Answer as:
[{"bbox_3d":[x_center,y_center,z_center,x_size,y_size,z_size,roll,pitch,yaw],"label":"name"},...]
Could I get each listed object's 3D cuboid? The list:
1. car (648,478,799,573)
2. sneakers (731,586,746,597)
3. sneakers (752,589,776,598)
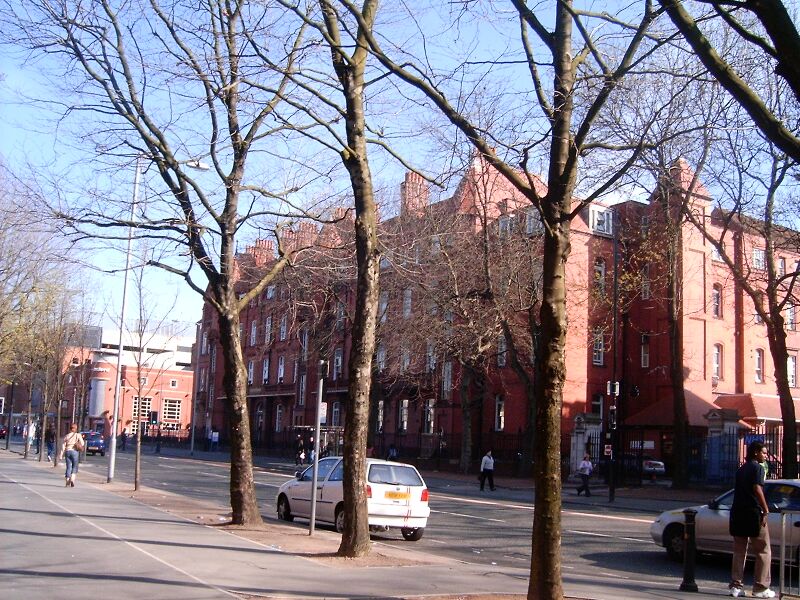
[{"bbox_3d":[6.719,4.464,16.424,3.211,1.209,1.486,-8,-14,43],"label":"car"},{"bbox_3d":[5.740,4.891,13.708,0.306,0.152,0.260,2,-13,-5],"label":"sneakers"},{"bbox_3d":[6.143,4.866,13.580,0.405,0.217,0.169,3,-10,-21],"label":"sneakers"}]
